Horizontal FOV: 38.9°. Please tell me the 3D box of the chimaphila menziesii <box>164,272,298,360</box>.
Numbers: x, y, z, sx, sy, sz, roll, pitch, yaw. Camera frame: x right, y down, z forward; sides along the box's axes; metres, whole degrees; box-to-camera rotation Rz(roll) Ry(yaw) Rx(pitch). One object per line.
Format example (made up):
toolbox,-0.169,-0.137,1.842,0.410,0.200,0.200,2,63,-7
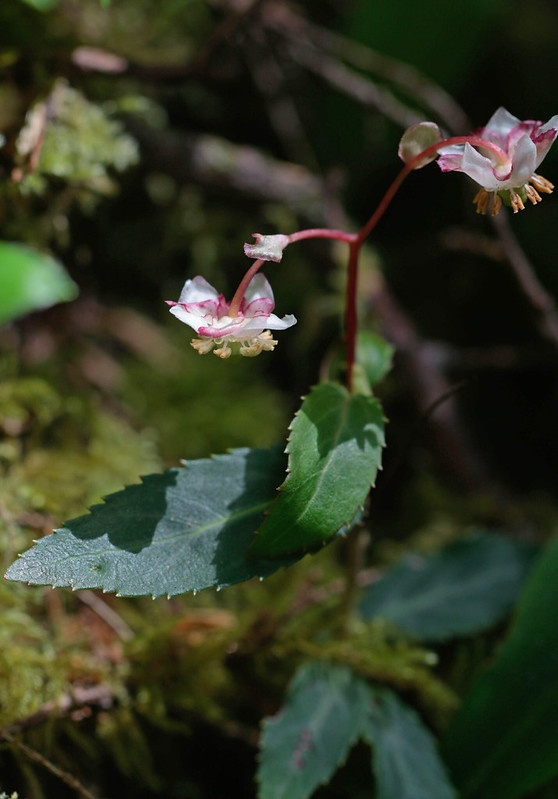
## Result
chimaphila menziesii,-0.058,-0.097,0.984,0.128,0.066,0.128,30,57,21
